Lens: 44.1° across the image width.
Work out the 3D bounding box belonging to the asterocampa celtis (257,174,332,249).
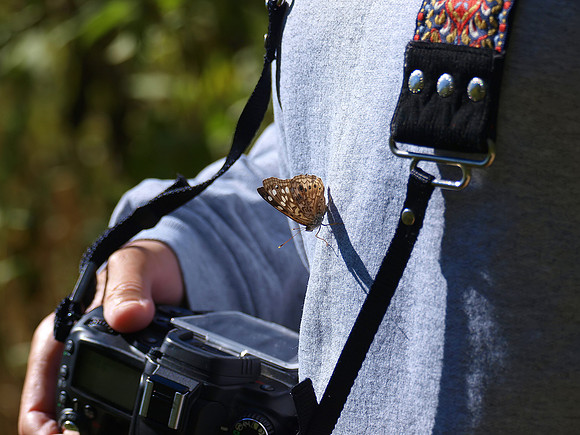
[{"bbox_3d":[0.010,-0.020,1.201,0.103,0.062,0.124,-5,96,-4],"label":"asterocampa celtis"}]
